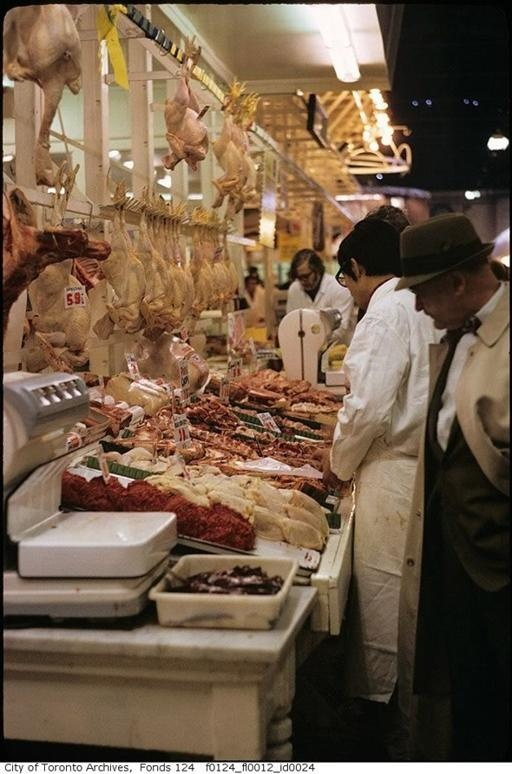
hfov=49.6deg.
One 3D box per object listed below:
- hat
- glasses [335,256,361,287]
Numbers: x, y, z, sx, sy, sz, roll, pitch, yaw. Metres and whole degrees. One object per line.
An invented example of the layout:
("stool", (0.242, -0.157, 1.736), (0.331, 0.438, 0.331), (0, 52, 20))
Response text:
("hat", (0.521, -0.391, 1.553), (0.205, 0.104, 0.179), (-25, 9, 19))
("glasses", (0.396, -0.507, 2.355), (0.043, 0.149, 0.140), (18, 1, 5))
